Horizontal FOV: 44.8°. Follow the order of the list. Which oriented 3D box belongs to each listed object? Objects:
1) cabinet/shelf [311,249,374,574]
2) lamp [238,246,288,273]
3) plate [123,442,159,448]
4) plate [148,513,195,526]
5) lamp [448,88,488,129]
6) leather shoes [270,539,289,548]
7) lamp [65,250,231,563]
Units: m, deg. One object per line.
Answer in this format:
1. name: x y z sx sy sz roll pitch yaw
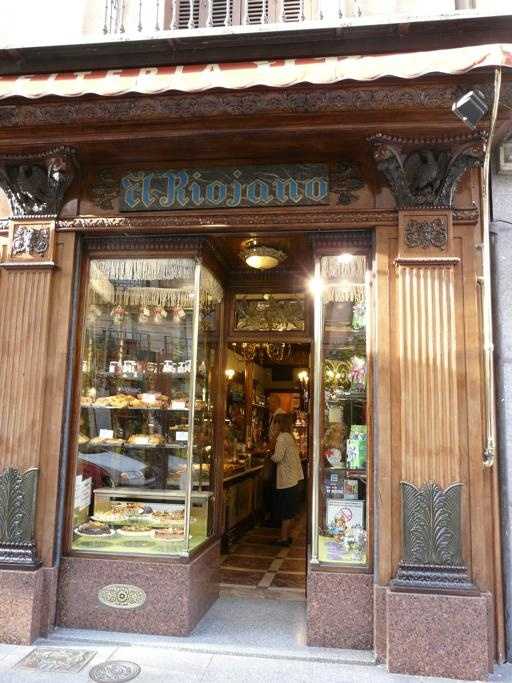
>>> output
1. cabinet/shelf: 0.612 0.452 4.457 0.391 2.202 0.295 0 -4 9
2. lamp: 0.066 -0.696 5.175 0.373 0.144 0.248 1 -4 -1
3. plate: -0.965 0.839 5.037 0.268 0.051 0.026 -1 -4 24
4. plate: -0.636 1.373 4.761 0.174 0.037 0.177 1 -4 11
5. lamp: 1.299 -1.400 3.762 0.207 0.265 0.199 0 -4 17
6. leather shoes: 0.285 2.460 7.544 0.210 0.089 0.090 -4 -10 44
7. lamp: -0.848 0.478 5.026 0.932 2.228 0.963 1 -4 6
